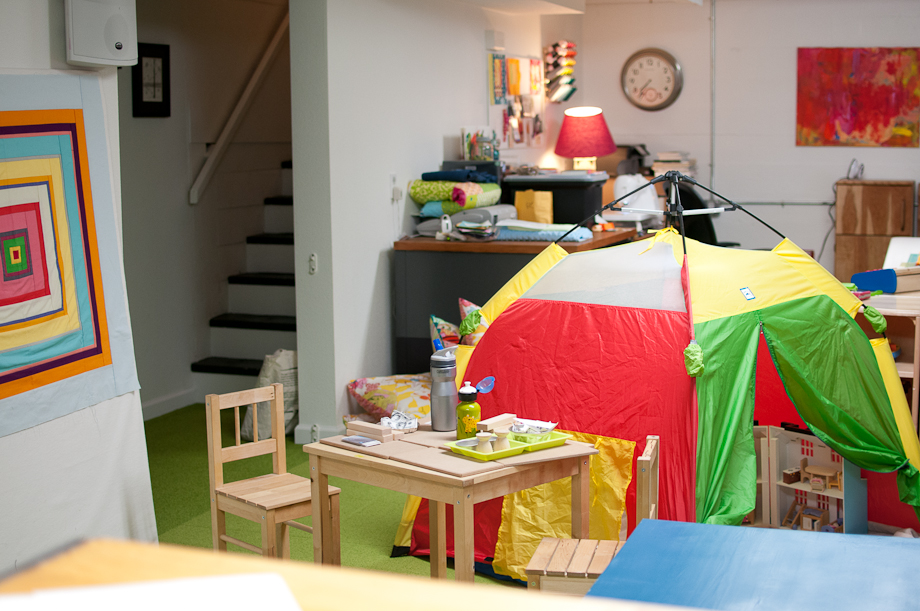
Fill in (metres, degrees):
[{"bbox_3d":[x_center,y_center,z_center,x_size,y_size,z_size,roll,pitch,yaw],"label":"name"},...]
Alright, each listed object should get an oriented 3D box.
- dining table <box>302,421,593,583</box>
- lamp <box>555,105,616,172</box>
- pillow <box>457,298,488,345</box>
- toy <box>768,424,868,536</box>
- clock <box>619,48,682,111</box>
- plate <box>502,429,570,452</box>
[{"bbox_3d":[-0.042,0.556,2.887,0.856,0.656,0.666,6,10,43],"label":"dining table"},{"bbox_3d":[1.139,-1.465,6.687,0.497,0.479,0.497,-24,33,-20],"label":"lamp"},{"bbox_3d":[0.067,0.121,4.147,0.182,0.333,0.105,-6,-8,-7],"label":"pillow"},{"bbox_3d":[1.724,0.829,3.550,0.192,0.567,0.582,-1,1,-45],"label":"toy"},{"bbox_3d":[2.082,-2.410,8.146,0.620,0.579,0.621,0,0,1],"label":"clock"},{"bbox_3d":[0.297,0.517,2.842,0.144,0.024,0.099,-6,10,-37],"label":"plate"}]
